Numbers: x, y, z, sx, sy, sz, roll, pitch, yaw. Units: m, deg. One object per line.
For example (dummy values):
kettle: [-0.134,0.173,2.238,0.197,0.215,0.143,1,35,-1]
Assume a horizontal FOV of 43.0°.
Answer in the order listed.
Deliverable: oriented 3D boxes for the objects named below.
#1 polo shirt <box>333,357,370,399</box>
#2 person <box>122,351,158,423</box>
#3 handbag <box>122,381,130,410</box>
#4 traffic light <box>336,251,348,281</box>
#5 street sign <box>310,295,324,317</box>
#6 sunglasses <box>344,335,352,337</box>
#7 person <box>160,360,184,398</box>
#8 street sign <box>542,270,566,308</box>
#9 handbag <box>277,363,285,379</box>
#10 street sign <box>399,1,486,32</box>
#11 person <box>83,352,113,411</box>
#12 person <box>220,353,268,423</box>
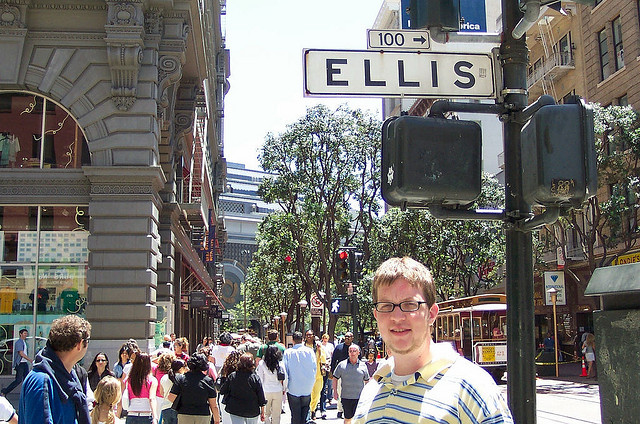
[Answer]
polo shirt: [0.814,4.141,20.217,0.908,1.105,0.579,7,-4,6]
person: [-3.711,3.729,16.935,0.627,1.463,0.486,0,-9,-13]
handbag: [-4.024,3.928,16.978,0.124,0.452,0.305,0,-12,-13]
traffic light: [0.731,1.859,26.872,0.382,1.002,0.734,-2,-9,1]
street sign: [-0.167,3.774,32.303,0.390,0.801,0.670,-6,-10,24]
sunglasses: [0.799,3.558,22.861,0.127,0.038,0.143,-2,-9,25]
person: [-3.104,3.601,17.240,0.272,0.342,0.866,3,-47,-41]
street sign: [8.984,2.940,31.386,0.768,1.268,1.806,-5,-10,19]
handbag: [-0.953,3.918,19.703,0.287,0.468,0.241,1,-15,-9]
street sign: [1.954,-3.142,12.891,1.386,0.569,0.549,-3,-10,3]
person: [-5.031,3.962,18.649,0.649,1.568,0.374,-1,22,-23]
person: [-1.686,3.960,17.935,0.927,1.516,0.291,-1,-9,-8]
